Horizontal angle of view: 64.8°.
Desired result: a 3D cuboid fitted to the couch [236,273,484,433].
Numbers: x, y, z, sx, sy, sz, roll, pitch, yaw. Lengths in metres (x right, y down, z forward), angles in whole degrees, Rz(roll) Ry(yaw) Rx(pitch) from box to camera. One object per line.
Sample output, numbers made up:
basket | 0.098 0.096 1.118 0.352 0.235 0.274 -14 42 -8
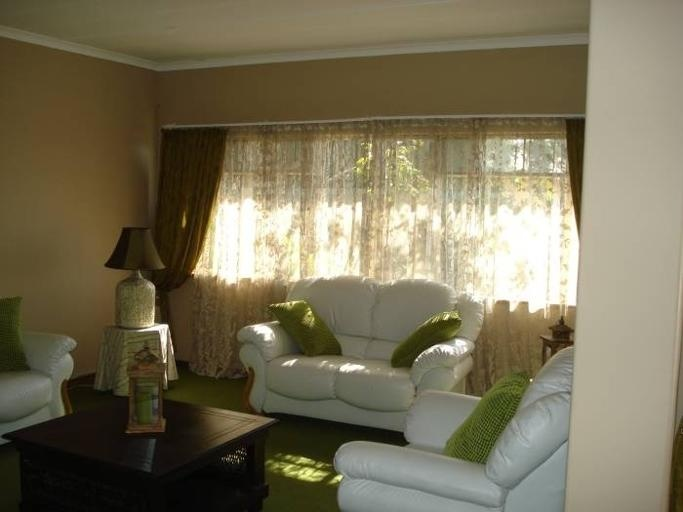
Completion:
couch | 0.151 0.728 4.209 1.691 1.077 0.996 1 -1 27

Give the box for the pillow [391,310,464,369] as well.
pillow | 0.532 0.688 3.962 0.225 0.161 0.478 -1 -36 -43

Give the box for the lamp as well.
lamp | -1.702 0.170 4.422 0.445 0.552 0.348 2 0 -7
